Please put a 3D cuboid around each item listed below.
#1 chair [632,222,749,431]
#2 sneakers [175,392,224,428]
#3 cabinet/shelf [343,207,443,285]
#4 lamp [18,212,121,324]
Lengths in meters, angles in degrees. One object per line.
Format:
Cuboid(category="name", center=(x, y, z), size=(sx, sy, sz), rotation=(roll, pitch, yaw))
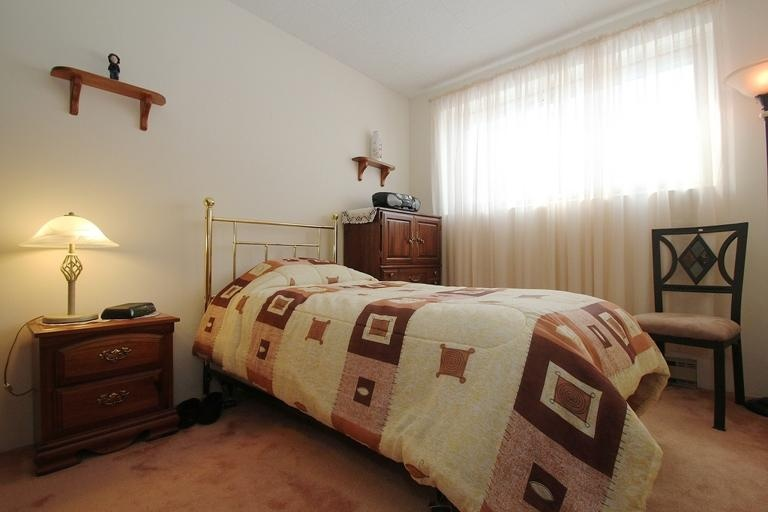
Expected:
Cuboid(category="chair", center=(2.237, 0.461, 3.743), size=(0.761, 1.424, 0.744), rotation=(0, -1, 37))
Cuboid(category="sneakers", center=(-1.282, 1.081, 3.527), size=(0.160, 0.117, 0.289), rotation=(1, -4, 21))
Cuboid(category="cabinet/shelf", center=(0.129, 0.014, 5.002), size=(0.882, 0.898, 0.521), rotation=(1, 0, -42))
Cuboid(category="lamp", center=(-2.063, 0.084, 3.604), size=(0.675, 0.847, 0.678), rotation=(-1, 0, 37))
